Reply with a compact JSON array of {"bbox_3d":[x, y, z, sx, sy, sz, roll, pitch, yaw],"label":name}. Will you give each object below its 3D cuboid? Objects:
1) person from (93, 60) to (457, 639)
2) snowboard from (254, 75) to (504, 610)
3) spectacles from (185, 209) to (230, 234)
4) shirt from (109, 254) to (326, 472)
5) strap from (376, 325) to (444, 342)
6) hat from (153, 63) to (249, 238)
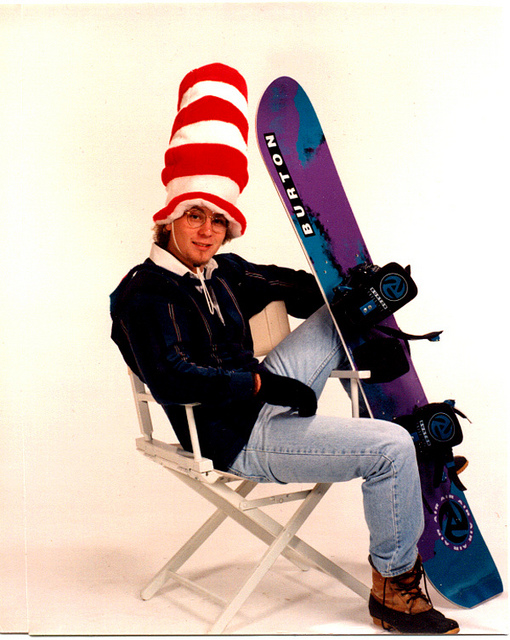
[{"bbox_3d":[0.105,0.068,2.539,1.186,2.029,0.834,-1,9,13],"label":"person"},{"bbox_3d":[0.536,0.096,2.908,0.480,2.305,0.550,-20,-7,-44],"label":"snowboard"},{"bbox_3d":[-0.171,-0.359,2.585,0.162,0.090,0.041,-6,10,-31],"label":"spectacles"},{"bbox_3d":[-0.185,0.126,2.584,0.564,0.712,0.745,1,9,20],"label":"shirt"},{"bbox_3d":[0.637,0.054,2.937,0.385,0.050,0.048,6,0,9],"label":"strap"},{"bbox_3d":[-0.194,-0.654,2.625,0.295,0.592,0.332,1,10,21],"label":"hat"}]
